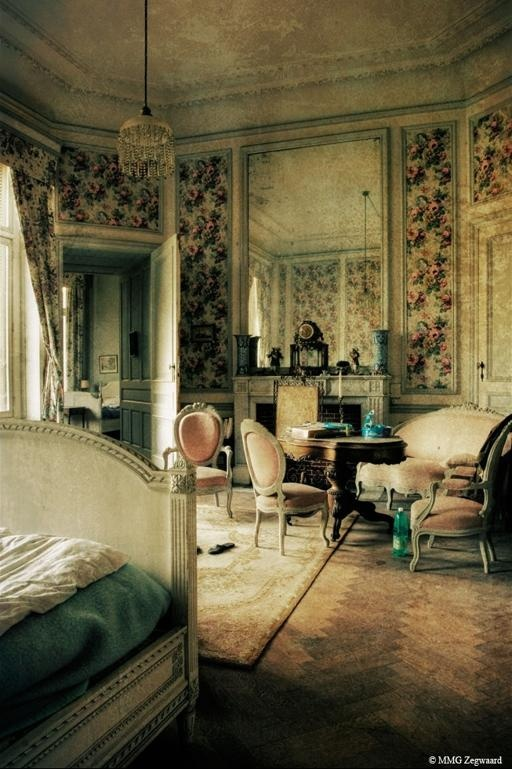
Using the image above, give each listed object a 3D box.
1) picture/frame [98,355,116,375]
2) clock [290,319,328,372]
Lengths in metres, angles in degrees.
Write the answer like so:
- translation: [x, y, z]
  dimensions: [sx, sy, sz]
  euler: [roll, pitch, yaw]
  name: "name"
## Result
- translation: [-2.437, -0.303, 10.552]
  dimensions: [0.352, 0.354, 0.037]
  euler: [1, -5, -20]
  name: "picture/frame"
- translation: [0.504, -0.353, 6.063]
  dimensions: [0.360, 0.469, 0.271]
  euler: [0, 2, 1]
  name: "clock"
